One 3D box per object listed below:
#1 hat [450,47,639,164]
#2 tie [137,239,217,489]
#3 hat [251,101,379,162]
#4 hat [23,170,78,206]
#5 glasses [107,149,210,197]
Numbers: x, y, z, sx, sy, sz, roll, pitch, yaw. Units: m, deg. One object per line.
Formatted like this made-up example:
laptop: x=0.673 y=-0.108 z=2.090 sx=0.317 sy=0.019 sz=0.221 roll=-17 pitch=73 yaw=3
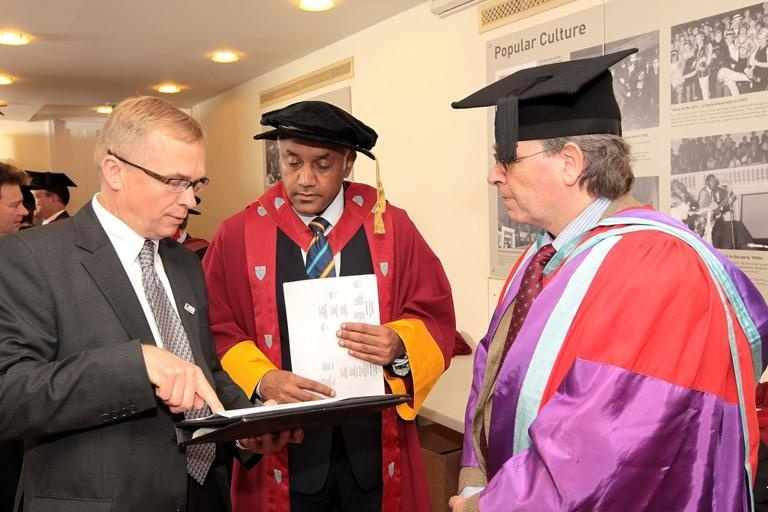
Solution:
hat: x=0.495 y=-0.472 z=1.795 sx=0.371 sy=0.260 sz=0.509 roll=-21 pitch=16 yaw=-33
tie: x=-0.713 y=0.235 z=1.910 sx=0.155 sy=1.067 sz=0.122 roll=1 pitch=-23 yaw=-38
hat: x=-0.239 y=-0.515 z=2.300 sx=0.320 sy=0.118 sz=0.318 roll=16 pitch=4 yaw=-26
hat: x=-3.376 y=-0.652 z=5.668 sx=0.421 sy=0.189 sz=0.399 roll=0 pitch=2 yaw=30
glasses: x=-0.711 y=-0.295 z=1.841 sx=0.177 sy=0.048 sz=0.172 roll=31 pitch=4 yaw=13
